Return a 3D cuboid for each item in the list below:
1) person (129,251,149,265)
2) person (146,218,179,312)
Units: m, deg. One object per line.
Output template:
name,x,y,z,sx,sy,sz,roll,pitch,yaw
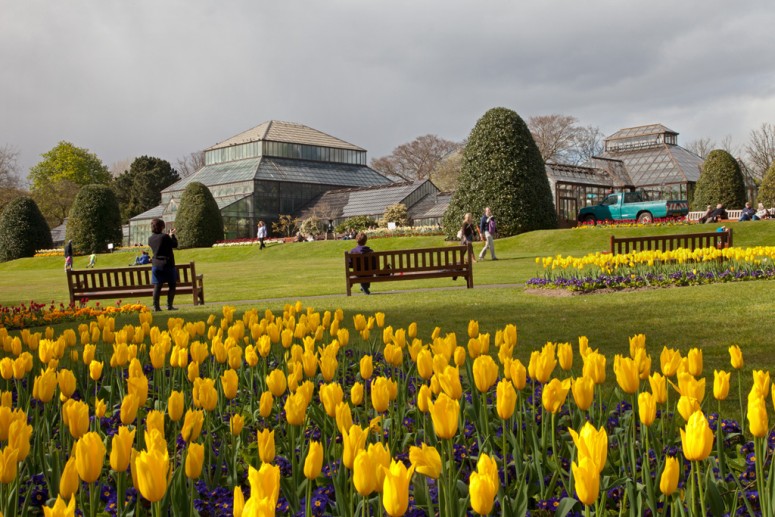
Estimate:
person,-10.040,0.026,32.055,0.574,0.458,0.962,2,6,12
person,-4.115,0.084,14.659,0.493,1.255,1.522,-3,-1,-16
